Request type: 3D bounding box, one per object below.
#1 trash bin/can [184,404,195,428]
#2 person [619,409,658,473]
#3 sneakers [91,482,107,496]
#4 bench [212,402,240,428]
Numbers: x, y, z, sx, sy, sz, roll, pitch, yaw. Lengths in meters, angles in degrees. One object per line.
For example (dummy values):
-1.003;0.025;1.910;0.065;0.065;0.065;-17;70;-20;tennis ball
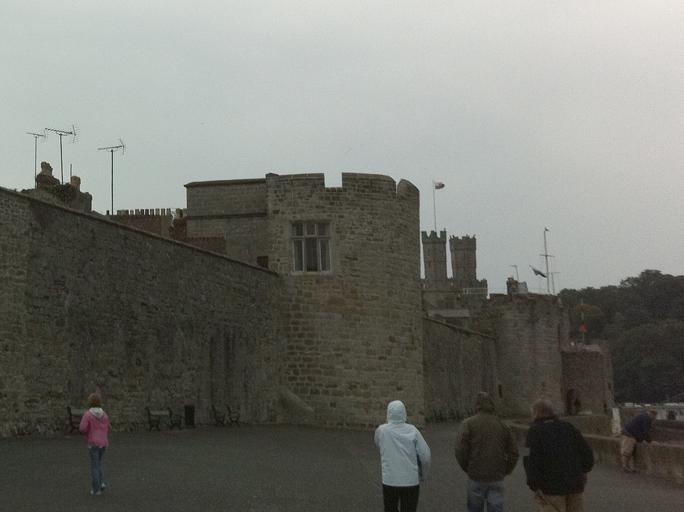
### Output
-4.393;4.558;28.062;0.273;0.579;0.327;1;2;-13;trash bin/can
6.861;4.183;22.868;0.751;1.566;0.604;8;9;-24;person
-4.901;4.677;19.845;0.273;0.320;0.218;-17;-12;36;sneakers
-3.541;4.771;29.403;0.532;0.620;0.825;-4;-8;16;bench
